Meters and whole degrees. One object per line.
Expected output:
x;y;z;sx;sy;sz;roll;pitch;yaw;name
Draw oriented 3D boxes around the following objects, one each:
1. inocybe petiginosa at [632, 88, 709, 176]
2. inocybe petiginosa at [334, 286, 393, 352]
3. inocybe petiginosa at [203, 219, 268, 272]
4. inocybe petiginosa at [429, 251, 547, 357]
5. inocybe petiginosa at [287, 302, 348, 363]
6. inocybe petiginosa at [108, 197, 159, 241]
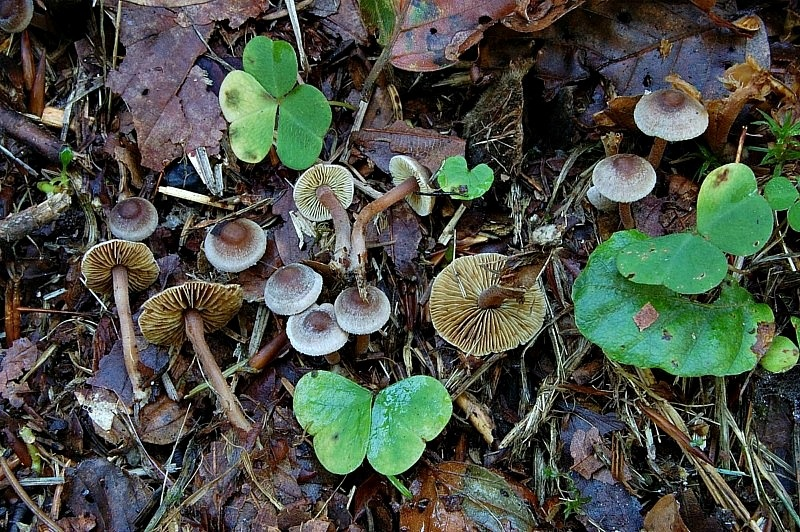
1.592;-0.847;4.303;0.358;0.444;0.387;-29;66;-6;inocybe petiginosa
-0.224;0.284;4.407;0.311;0.462;0.311;-32;67;-19;inocybe petiginosa
-1.047;-0.185;4.420;0.414;0.455;0.137;-2;34;-26;inocybe petiginosa
0.538;0.229;4.310;0.708;0.621;0.144;-13;-4;-2;inocybe petiginosa
-0.511;0.394;4.431;0.387;0.140;0.424;10;36;14;inocybe petiginosa
-1.739;-0.326;4.545;0.309;0.132;0.344;-11;54;-15;inocybe petiginosa
